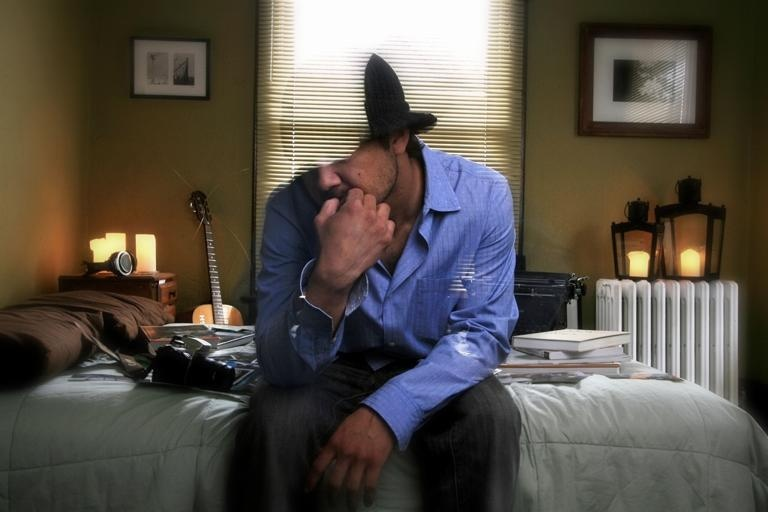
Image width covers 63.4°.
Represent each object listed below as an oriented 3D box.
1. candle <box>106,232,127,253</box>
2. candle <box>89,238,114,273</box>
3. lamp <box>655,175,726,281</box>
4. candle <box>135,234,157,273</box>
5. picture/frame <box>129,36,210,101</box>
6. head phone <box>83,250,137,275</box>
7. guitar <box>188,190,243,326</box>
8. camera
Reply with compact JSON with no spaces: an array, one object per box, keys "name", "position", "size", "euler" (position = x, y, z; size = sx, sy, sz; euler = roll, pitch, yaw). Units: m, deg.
[{"name":"candle","position":[-1.017,-0.051,2.348],"size":[0.059,0.073,0.060],"euler":[-4,9,-28]},{"name":"candle","position":[-1.078,0.001,2.357],"size":[0.113,0.121,0.027],"euler":[-1,2,-4]},{"name":"lamp","position":[1.246,-0.110,2.542],"size":[0.252,0.409,0.215],"euler":[4,5,25]},{"name":"candle","position":[-0.932,-0.011,2.431],"size":[0.073,0.149,0.036],"euler":[0,5,-31]},{"name":"picture/frame","position":[-0.436,-0.389,1.266],"size":[0.151,0.164,0.260],"euler":[1,5,-20]},{"name":"head phone","position":[-1.023,0.031,2.340],"size":[0.110,0.060,0.093],"euler":[-5,14,-5]},{"name":"guitar","position":[-0.650,0.038,2.376],"size":[0.197,0.580,0.076],"euler":[-9,10,-23]},{"name":"camera","position":[-0.404,0.233,1.309],"size":[0.169,0.077,0.107],"euler":[17,-5,23]}]
